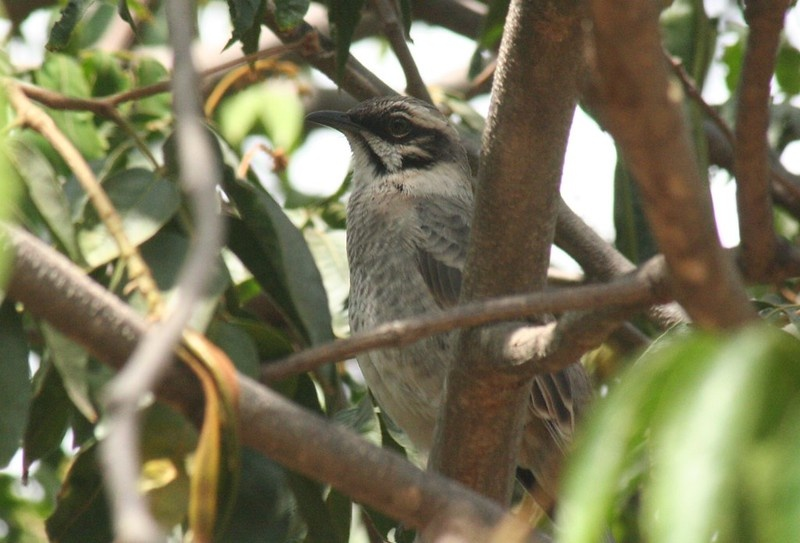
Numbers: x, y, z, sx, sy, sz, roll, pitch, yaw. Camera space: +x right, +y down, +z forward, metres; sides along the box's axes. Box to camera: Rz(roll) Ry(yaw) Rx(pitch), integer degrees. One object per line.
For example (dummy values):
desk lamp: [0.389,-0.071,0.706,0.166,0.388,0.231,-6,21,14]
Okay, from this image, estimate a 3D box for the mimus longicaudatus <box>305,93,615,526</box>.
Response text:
mimus longicaudatus: [0.164,0.080,5.327,0.817,1.843,0.577,-9,-21,-4]
